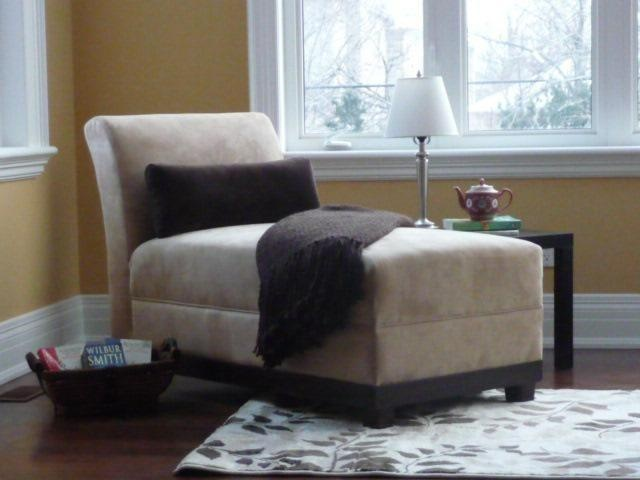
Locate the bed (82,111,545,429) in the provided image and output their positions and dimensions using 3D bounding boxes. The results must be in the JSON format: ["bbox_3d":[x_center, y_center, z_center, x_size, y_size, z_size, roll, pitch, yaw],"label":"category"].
[{"bbox_3d":[-0.113,0.045,3.043,1.841,1.136,1.016,4,7,43],"label":"bed"}]

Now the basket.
[{"bbox_3d":[-0.837,0.528,2.688,0.565,0.279,0.282,-3,7,-14],"label":"basket"}]
